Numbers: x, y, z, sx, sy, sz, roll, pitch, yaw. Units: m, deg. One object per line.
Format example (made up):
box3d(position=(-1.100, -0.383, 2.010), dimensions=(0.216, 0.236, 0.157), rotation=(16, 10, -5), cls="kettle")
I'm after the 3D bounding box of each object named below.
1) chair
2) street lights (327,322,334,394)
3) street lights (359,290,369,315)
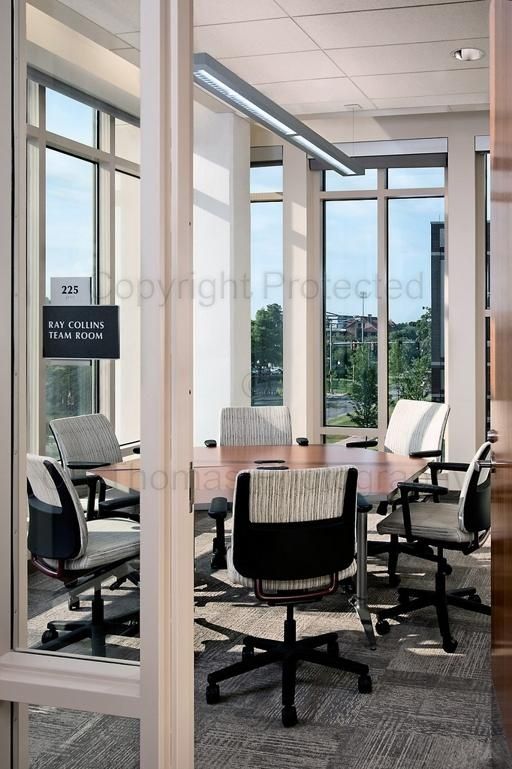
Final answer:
box3d(position=(0.125, 0.690, 2.438), dimensions=(1.037, 0.689, 0.867), rotation=(-2, -3, 18), cls="chair")
box3d(position=(0.773, -0.296, 7.010), dimensions=(0.087, 0.713, 0.060), rotation=(0, 0, 18), cls="street lights")
box3d(position=(1.107, -0.843, 6.869), dimensions=(0.093, 0.248, 0.011), rotation=(0, 0, 18), cls="street lights")
